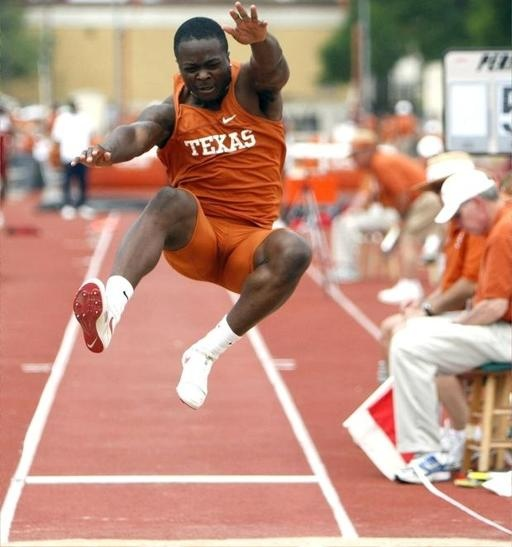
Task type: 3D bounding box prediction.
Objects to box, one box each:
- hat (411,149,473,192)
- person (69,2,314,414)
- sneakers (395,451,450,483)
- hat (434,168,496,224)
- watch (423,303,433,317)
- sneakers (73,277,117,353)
[{"bbox_3d":[0.861,-0.492,3.445,0.206,0.071,0.218,-8,-12,-19],"label":"hat"},{"bbox_3d":[-0.194,-0.259,3.205,0.839,1.668,1.038,1,6,7],"label":"person"},{"bbox_3d":[0.712,0.817,3.193,0.292,0.120,0.101,3,-3,-28],"label":"sneakers"},{"bbox_3d":[0.839,-0.336,3.118,0.279,0.139,0.193,-35,5,3],"label":"hat"},{"bbox_3d":[0.776,0.161,3.363,0.040,0.054,0.054,13,43,24],"label":"watch"},{"bbox_3d":[-0.613,0.174,2.888,0.135,0.286,0.140,3,23,8],"label":"sneakers"}]
